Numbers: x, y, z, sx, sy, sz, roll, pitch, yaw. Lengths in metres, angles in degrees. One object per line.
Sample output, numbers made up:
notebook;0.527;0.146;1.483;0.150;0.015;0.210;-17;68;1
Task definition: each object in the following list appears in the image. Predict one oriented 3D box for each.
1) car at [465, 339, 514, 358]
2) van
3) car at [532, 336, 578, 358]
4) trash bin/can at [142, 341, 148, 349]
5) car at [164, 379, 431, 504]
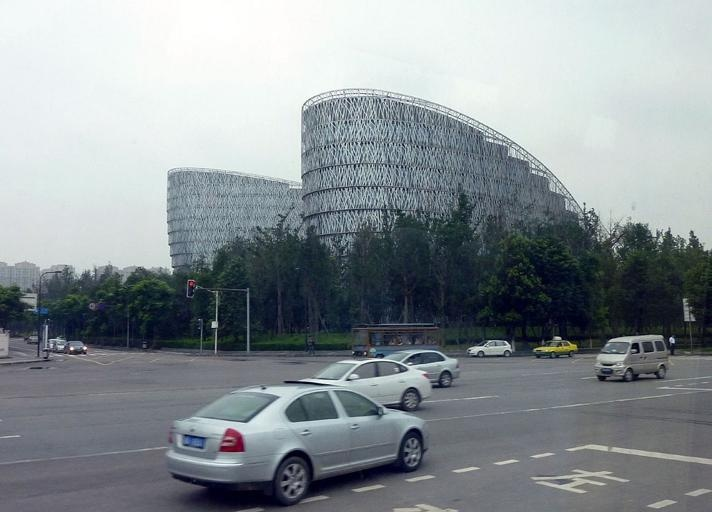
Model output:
car;11.460;7.857;70.742;2.755;1.112;1.675;3;-7;-10
van;13.574;4.984;40.874;3.793;2.271;1.284;5;-9;-31
car;16.485;7.467;68.462;3.502;1.578;1.620;9;-14;-36
trash bin/can;-28.850;12.095;114.271;0.970;1.052;0.502;-1;0;-2
car;-1.601;4.796;22.532;6.094;2.358;2.777;0;-3;-34
